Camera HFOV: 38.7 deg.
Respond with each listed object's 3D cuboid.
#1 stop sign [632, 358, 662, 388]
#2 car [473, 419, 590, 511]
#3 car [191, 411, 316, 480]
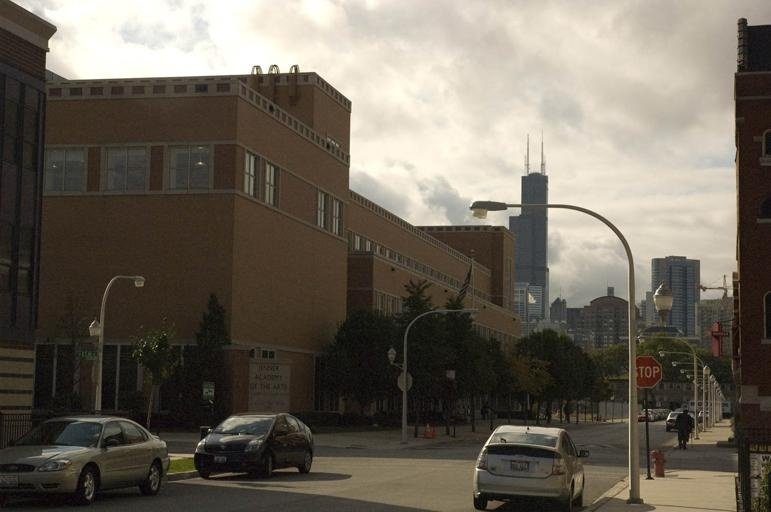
[{"bbox_3d":[9.762,4.404,41.723,1.317,1.242,0.218,6,-3,-19],"label":"stop sign"},{"bbox_3d":[4.812,7.302,37.842,3.744,2.853,1.822,1,-10,-5],"label":"car"},{"bbox_3d":[-5.209,7.523,44.019,2.131,2.482,4.571,-10,-15,43],"label":"car"}]
